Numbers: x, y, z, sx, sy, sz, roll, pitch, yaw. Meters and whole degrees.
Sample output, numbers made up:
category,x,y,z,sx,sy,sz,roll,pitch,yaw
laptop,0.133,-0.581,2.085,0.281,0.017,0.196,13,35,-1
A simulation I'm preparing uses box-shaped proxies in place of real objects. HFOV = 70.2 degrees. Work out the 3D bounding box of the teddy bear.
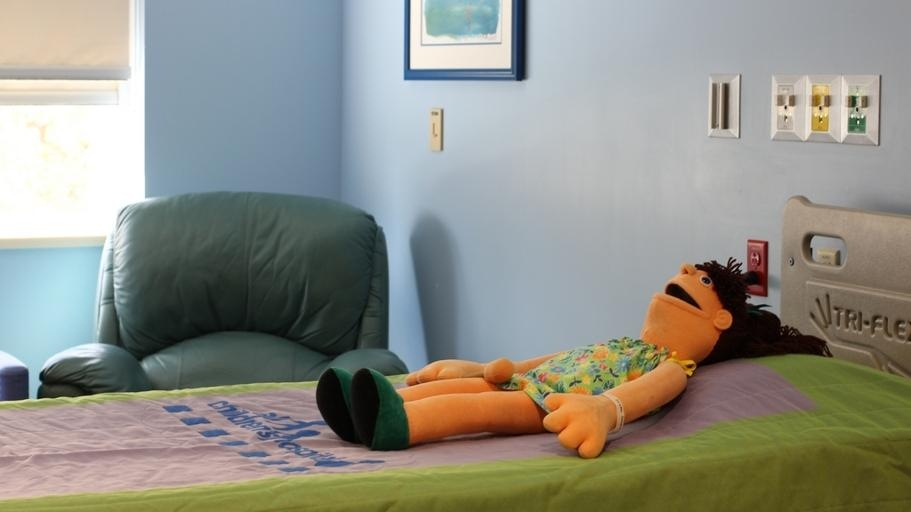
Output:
category,x,y,z,sx,sy,sz,roll,pitch,yaw
teddy bear,0.327,0.342,1.909,0.970,0.373,0.739,-4,-4,-18
